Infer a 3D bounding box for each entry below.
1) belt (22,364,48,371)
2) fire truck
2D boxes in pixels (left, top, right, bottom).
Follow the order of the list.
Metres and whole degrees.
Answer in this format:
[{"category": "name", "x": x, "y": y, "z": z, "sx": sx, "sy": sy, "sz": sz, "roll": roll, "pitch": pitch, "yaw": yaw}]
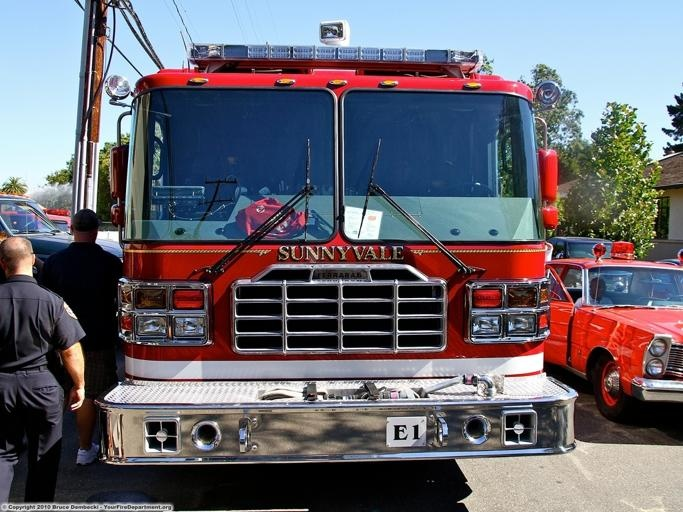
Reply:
[{"category": "belt", "x": -2.391, "y": 0.873, "z": 5.508, "sx": 0.179, "sy": 0.049, "sz": 0.027, "roll": -5, "pitch": 9, "yaw": -30}, {"category": "fire truck", "x": -0.259, "y": -0.059, "z": 7.785, "sx": 2.595, "sy": 2.838, "sz": 4.733, "roll": 0, "pitch": 1, "yaw": -1}]
